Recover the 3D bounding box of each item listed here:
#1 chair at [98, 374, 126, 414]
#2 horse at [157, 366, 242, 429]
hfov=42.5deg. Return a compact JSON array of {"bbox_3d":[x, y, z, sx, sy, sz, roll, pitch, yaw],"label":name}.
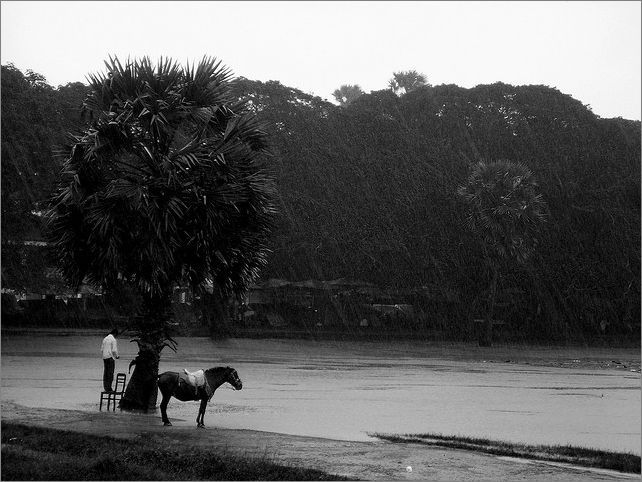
[{"bbox_3d":[-5.282,4.072,21.648,0.436,0.894,0.524,11,24,-41],"label":"chair"},{"bbox_3d":[-2.907,3.723,19.407,1.807,1.328,0.797,-2,-5,-15],"label":"horse"}]
